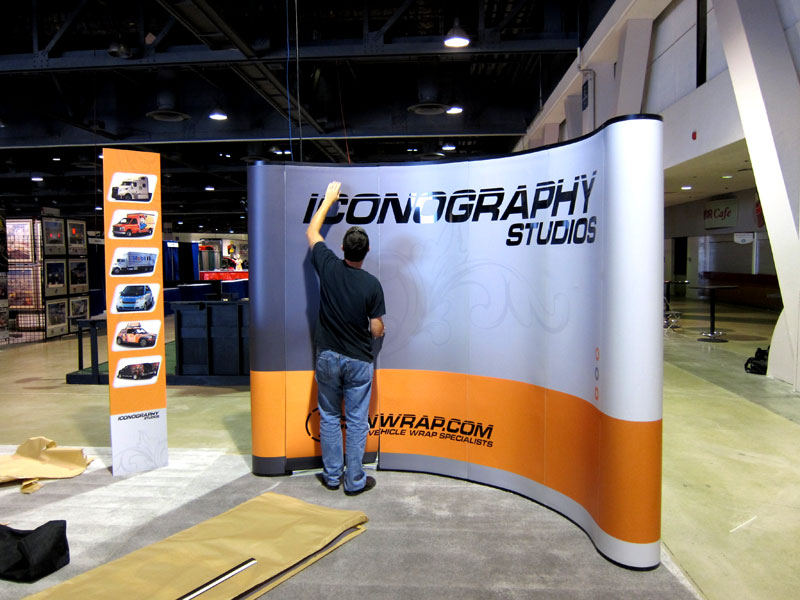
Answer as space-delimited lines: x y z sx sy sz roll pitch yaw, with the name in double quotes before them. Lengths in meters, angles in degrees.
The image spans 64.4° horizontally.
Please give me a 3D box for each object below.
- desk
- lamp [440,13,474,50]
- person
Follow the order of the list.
"desk" 6.596 0.221 13.846 1.142 0.964 1.220 -2 2 -22
"lamp" 0.703 -3.311 8.111 0.440 0.584 0.499 0 10 -5
"person" -0.467 0.326 5.357 0.573 2.421 0.806 -9 16 -33
